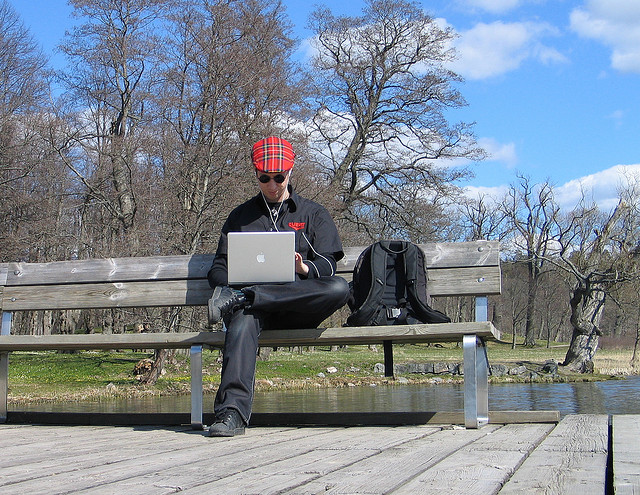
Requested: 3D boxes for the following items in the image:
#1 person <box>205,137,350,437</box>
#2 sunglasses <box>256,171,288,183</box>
[{"bbox_3d":[-0.366,0.187,5.214,1.170,2.101,1.550,1,-3,6],"label":"person"},{"bbox_3d":[-0.361,-0.527,5.481,0.214,0.076,0.063,0,-10,-3],"label":"sunglasses"}]
